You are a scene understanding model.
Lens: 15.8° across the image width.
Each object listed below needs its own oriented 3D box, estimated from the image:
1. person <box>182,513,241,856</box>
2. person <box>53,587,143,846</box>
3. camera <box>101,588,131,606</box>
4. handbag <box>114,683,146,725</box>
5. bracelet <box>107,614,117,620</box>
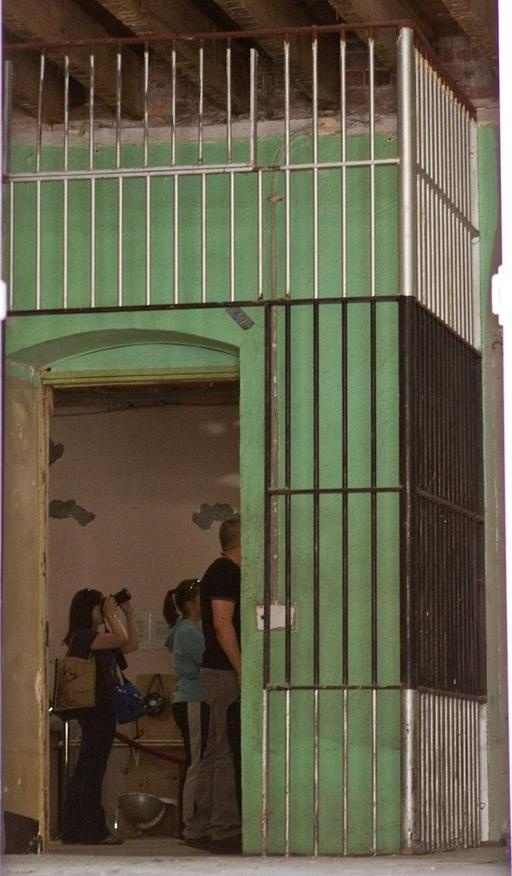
[{"bbox_3d":[-0.175,1.002,7.491,0.220,1.358,0.621,0,-7,-4],"label":"person"},{"bbox_3d":[-0.768,1.289,8.698,0.373,1.219,1.117,0,-8,-4],"label":"person"},{"bbox_3d":[-0.721,0.815,9.443,0.119,0.089,0.067,-26,-16,13],"label":"camera"},{"bbox_3d":[-0.629,1.291,8.941,0.122,0.294,0.248,-4,-6,15],"label":"handbag"},{"bbox_3d":[-0.706,0.879,8.982,0.009,0.036,0.029,35,27,28],"label":"bracelet"}]
